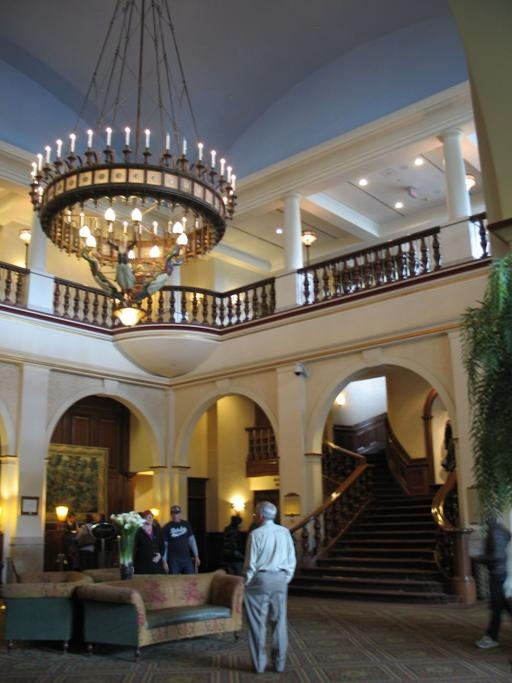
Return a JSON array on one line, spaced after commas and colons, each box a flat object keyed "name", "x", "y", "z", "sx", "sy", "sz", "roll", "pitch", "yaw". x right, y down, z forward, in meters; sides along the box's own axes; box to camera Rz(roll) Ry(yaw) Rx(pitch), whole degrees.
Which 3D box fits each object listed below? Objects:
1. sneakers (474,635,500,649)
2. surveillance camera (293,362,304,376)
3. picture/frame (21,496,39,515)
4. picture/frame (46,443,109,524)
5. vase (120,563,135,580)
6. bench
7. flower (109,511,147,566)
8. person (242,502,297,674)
[{"name": "sneakers", "x": 1.853, "y": 2.443, "z": 4.722, "sx": 0.153, "sy": 0.061, "sz": 0.083, "roll": 13, "pitch": -34, "yaw": -24}, {"name": "surveillance camera", "x": 0.774, "y": 0.508, "z": 10.543, "sx": 0.203, "sy": 0.244, "sz": 0.168, "roll": -4, "pitch": -13, "yaw": 3}, {"name": "picture/frame", "x": -3.783, "y": 2.768, "z": 9.838, "sx": 0.025, "sy": 0.289, "sz": 0.316, "roll": -22, "pitch": -26, "yaw": 28}, {"name": "picture/frame", "x": -4.058, "y": 3.263, "z": 13.247, "sx": 0.224, "sy": 2.050, "sz": 2.144, "roll": -17, "pitch": -23, "yaw": 30}, {"name": "vase", "x": -1.259, "y": 2.314, "z": 5.870, "sx": 0.150, "sy": 0.197, "sz": 0.142, "roll": -9, "pitch": -22, "yaw": -2}, {"name": "bench", "x": -0.842, "y": 2.520, "z": 5.407, "sx": 1.376, "sy": 0.672, "sz": 0.770, "roll": 9, "pitch": -17, "yaw": -44}, {"name": "flower", "x": -1.252, "y": 1.971, "z": 5.803, "sx": 0.284, "sy": 0.529, "sz": 0.551, "roll": 0, "pitch": -13, "yaw": -11}, {"name": "person", "x": 0.103, "y": 1.820, "z": 4.349, "sx": 0.456, "sy": 1.200, "sz": 0.276, "roll": 6, "pitch": -16, "yaw": -35}]
